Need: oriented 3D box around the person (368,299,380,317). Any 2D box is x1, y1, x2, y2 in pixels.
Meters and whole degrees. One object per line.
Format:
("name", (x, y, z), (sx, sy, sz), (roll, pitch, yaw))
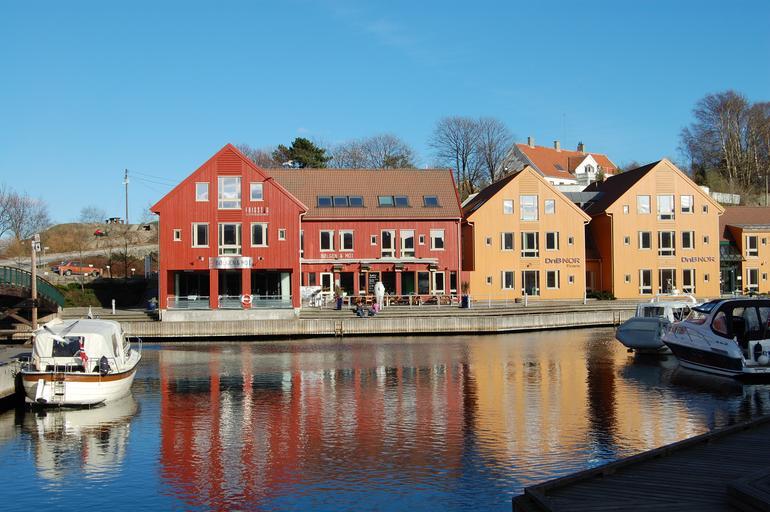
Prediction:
("person", (-0.729, 3.777, 80.278), (1.166, 1.235, 3.639), (0, -3, -2))
